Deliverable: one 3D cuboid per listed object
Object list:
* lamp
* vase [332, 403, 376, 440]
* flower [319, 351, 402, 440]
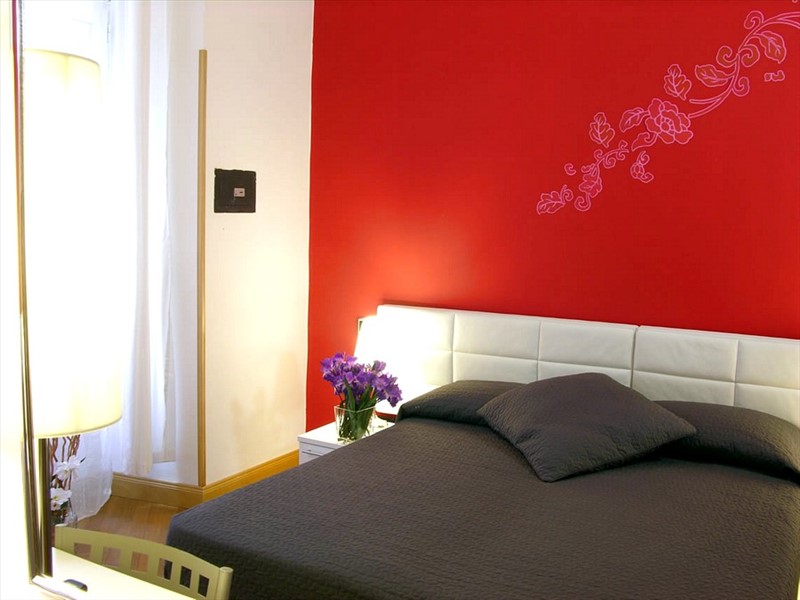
[{"bbox_3d":[-0.776,-0.142,1.472,0.225,0.903,0.134,-8,12,-41],"label":"lamp"},{"bbox_3d":[-0.265,0.674,3.642,0.187,0.242,0.198,1,-2,11],"label":"vase"},{"bbox_3d":[-0.257,0.576,3.628,0.478,0.487,0.389,19,7,26],"label":"flower"}]
